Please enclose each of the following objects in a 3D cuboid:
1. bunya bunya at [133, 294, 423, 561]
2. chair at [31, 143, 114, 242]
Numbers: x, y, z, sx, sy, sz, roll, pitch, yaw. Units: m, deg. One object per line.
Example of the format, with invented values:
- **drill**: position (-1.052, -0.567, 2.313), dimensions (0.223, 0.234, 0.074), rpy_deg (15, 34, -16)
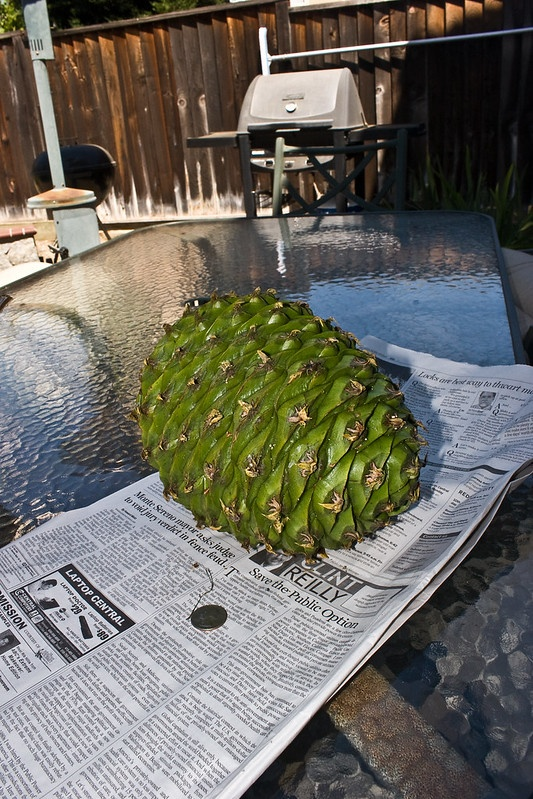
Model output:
- **bunya bunya**: position (0.021, 0.015, 0.498), dimensions (0.220, 0.149, 0.143), rpy_deg (21, 75, 43)
- **chair**: position (-1.114, -1.215, 3.760), dimensions (0.499, 0.624, 0.506), rpy_deg (-12, 24, -11)
